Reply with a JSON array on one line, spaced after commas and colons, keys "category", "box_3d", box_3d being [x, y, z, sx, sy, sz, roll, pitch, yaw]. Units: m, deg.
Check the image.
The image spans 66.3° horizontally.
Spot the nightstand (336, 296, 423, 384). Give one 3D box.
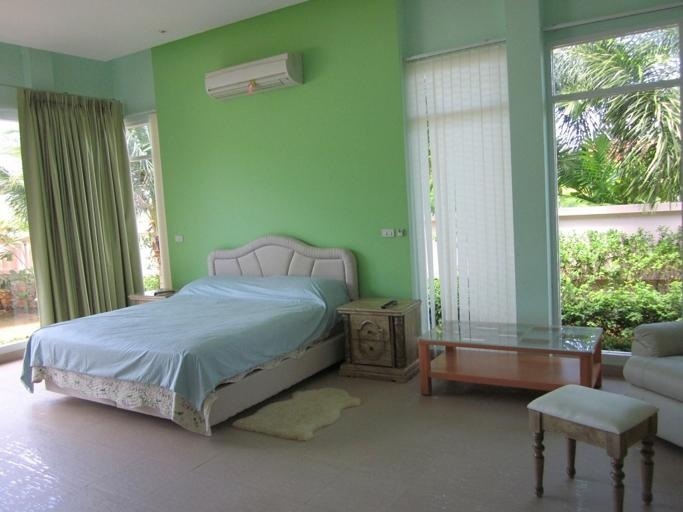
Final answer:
[{"category": "nightstand", "box_3d": [0.382, 0.834, 5.158, 0.754, 0.677, 0.661, -1, 3, 37]}]

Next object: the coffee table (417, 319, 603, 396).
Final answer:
[{"category": "coffee table", "box_3d": [1.673, 0.760, 4.789, 1.468, 0.631, 1.136, 4, 4, 30]}]

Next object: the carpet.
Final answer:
[{"category": "carpet", "box_3d": [-0.333, 1.242, 4.272, 0.950, 0.184, 0.814, 6, 5, -4]}]

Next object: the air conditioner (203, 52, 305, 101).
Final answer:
[{"category": "air conditioner", "box_3d": [-1.003, -1.983, 5.818, 1.143, 0.337, 0.391, 0, 19, 30]}]
